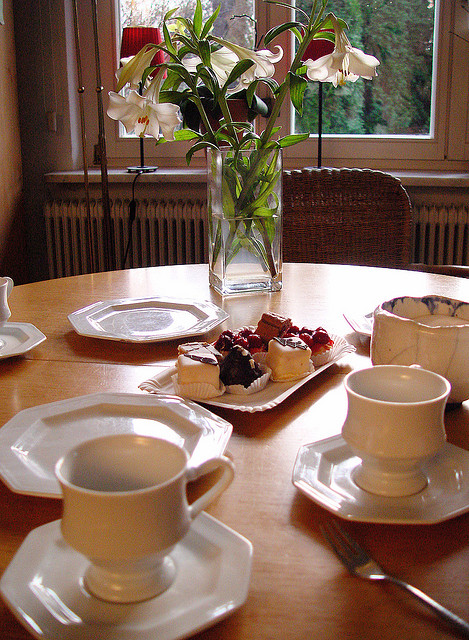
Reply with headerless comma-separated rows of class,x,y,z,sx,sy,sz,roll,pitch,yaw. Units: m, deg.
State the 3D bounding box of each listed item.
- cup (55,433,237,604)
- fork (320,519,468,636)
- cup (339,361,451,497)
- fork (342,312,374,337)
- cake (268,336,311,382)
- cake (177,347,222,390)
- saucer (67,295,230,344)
cup,-0.060,0.100,0.264,0.103,0.076,0.074,7,9,14
fork,0.084,0.130,0.314,0.019,0.017,0.142,10,13,-26
cup,0.122,0.083,0.388,0.074,0.077,0.097,-1,12,1
fork,0.198,0.006,0.780,0.036,0.012,0.050,-10,37,-5
cake,0.066,0.045,0.580,0.045,0.045,0.046,-9,25,-21
cake,-0.038,0.052,0.534,0.038,0.038,0.040,-4,37,-15
saucer,-0.144,-0.006,0.836,0.256,0.044,0.240,5,9,-1
